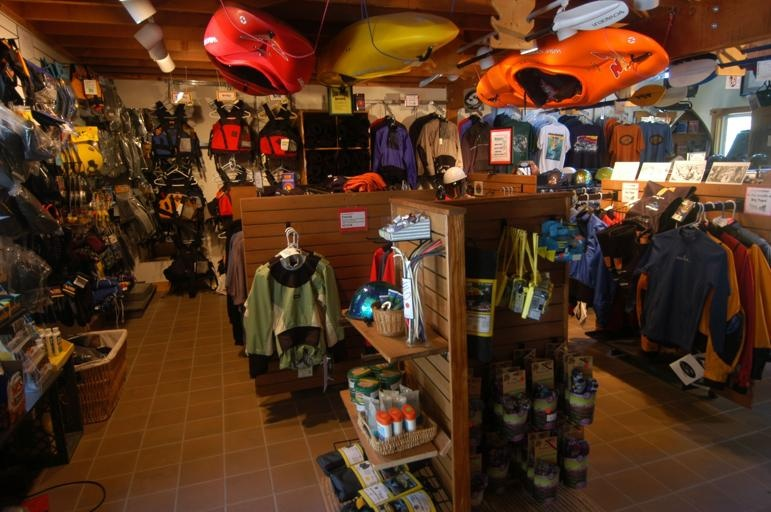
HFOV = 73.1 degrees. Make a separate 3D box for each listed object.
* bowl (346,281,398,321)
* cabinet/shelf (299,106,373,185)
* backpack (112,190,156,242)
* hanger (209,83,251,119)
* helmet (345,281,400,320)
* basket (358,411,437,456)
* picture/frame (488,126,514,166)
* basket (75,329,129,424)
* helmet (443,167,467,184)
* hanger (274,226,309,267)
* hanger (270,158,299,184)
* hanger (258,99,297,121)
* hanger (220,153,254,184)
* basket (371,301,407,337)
[{"bbox_3d":[-0.082,0.358,3.977,0.422,0.245,0.313,9,13,37],"label":"bowl"},{"bbox_3d":[-0.754,-1.656,7.876,1.060,1.047,0.356,-2,14,-2],"label":"cabinet/shelf"},{"bbox_3d":[-3.689,-0.594,7.646,0.531,0.764,0.496,-9,15,-27],"label":"backpack"},{"bbox_3d":[-2.339,-2.296,7.801,0.533,0.224,0.697,-2,14,-10],"label":"hanger"},{"bbox_3d":[-0.095,0.325,3.842,0.330,0.219,0.288,0,-4,17],"label":"helmet"},{"bbox_3d":[0.110,1.275,3.679,0.304,0.093,0.295,-7,2,-17],"label":"basket"},{"bbox_3d":[1.198,-1.150,5.418,0.216,0.354,0.125,3,15,20],"label":"picture/frame"},{"bbox_3d":[-2.713,1.146,5.046,0.578,0.449,0.791,-3,1,-29],"label":"basket"},{"bbox_3d":[0.803,-0.951,6.354,0.251,0.087,0.242,-21,15,-32],"label":"helmet"},{"bbox_3d":[-0.863,-0.095,4.776,0.308,0.198,0.397,-3,25,-8],"label":"hanger"},{"bbox_3d":[-1.583,-1.356,8.090,0.503,0.363,0.274,-4,14,-9],"label":"hanger"},{"bbox_3d":[-1.628,-2.188,7.858,0.485,0.321,0.298,1,9,-5],"label":"hanger"},{"bbox_3d":[-2.361,-1.359,8.311,0.551,0.489,0.188,-3,-2,0],"label":"hanger"},{"bbox_3d":[0.018,0.449,3.705,0.220,0.143,0.204,-4,8,-38],"label":"basket"}]
